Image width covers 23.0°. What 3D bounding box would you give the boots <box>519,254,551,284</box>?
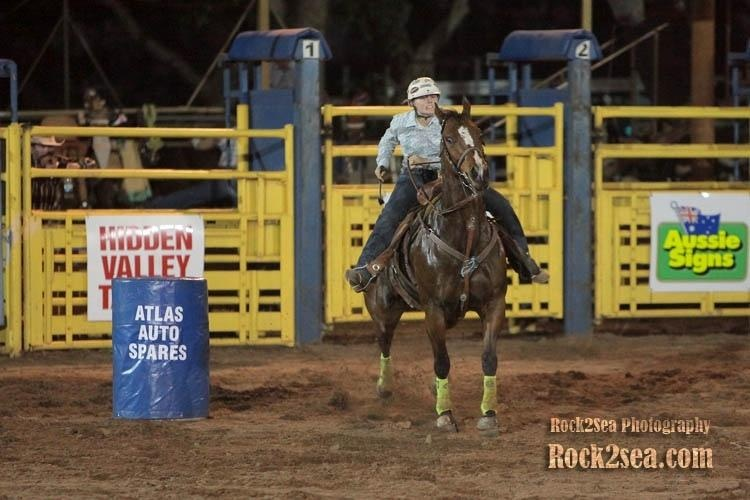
[{"bbox_3d":[2.392,0.300,28.434,0.569,0.492,0.326,-7,6,-44],"label":"boots"}]

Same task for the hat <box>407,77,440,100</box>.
[{"bbox_3d":[0.719,-2.428,28.095,0.315,0.425,0.349,-1,18,-8],"label":"hat"}]
